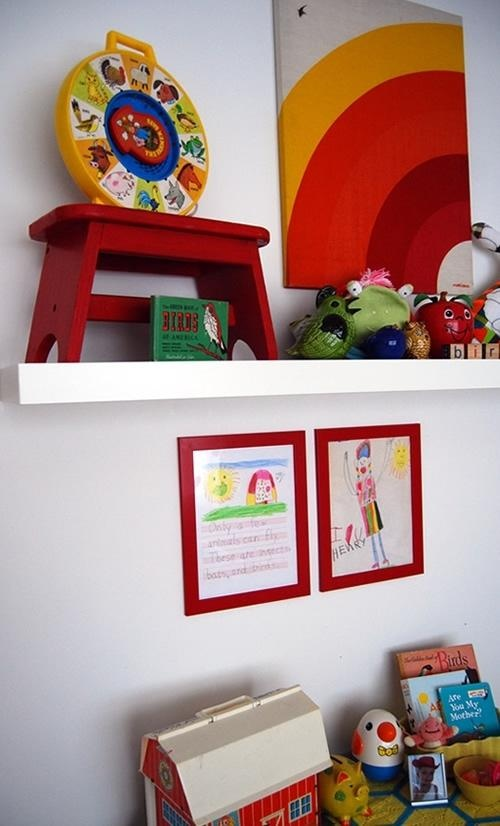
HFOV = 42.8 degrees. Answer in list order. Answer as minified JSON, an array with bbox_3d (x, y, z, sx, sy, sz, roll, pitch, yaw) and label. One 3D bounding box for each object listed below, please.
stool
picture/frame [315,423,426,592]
[{"bbox_3d":[-0.137,-0.166,0.926,0.328,0.211,0.177,-4,4,-36],"label":"stool"},{"bbox_3d":[0.229,0.187,1.268,0.335,0.423,0.016,0,-1,-38],"label":"picture/frame"}]
